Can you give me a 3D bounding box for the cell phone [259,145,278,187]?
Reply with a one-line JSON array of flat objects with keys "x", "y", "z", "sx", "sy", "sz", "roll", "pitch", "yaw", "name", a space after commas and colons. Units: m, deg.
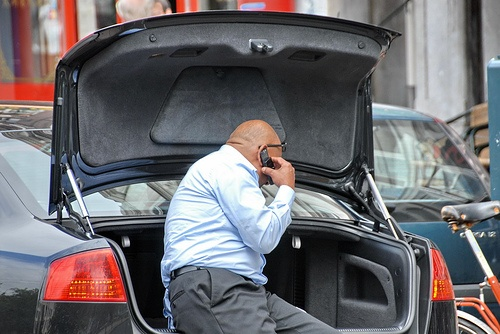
[{"x": 0.133, "y": -0.021, "z": 5.200, "sx": 0.051, "sy": 0.217, "sz": 0.122, "roll": -3, "pitch": 17, "yaw": 32, "name": "cell phone"}]
